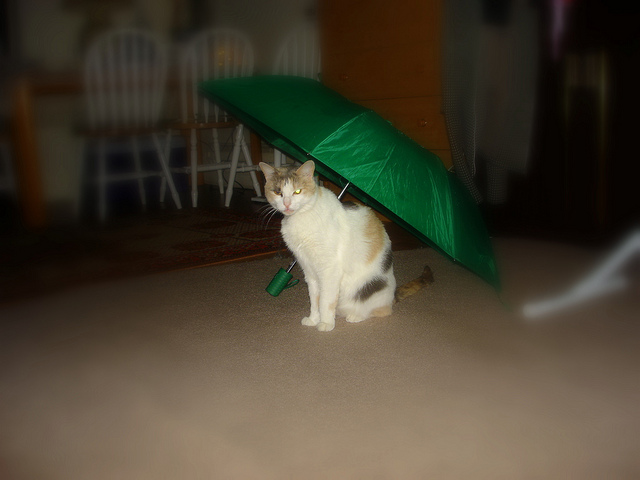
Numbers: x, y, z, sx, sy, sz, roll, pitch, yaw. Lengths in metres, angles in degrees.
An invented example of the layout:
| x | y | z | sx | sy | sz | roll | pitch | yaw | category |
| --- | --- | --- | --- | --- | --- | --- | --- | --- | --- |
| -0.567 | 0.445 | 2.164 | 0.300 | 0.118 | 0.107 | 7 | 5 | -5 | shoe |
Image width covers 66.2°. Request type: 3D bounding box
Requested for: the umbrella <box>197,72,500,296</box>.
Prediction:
| x | y | z | sx | sy | sz | roll | pitch | yaw | category |
| --- | --- | --- | --- | --- | --- | --- | --- | --- | --- |
| 0.142 | -0.183 | 1.648 | 0.999 | 0.761 | 0.431 | -1 | 9 | -8 | umbrella |

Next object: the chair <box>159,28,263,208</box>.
| x | y | z | sx | sy | sz | roll | pitch | yaw | category |
| --- | --- | --- | --- | --- | --- | --- | --- | --- | --- |
| -0.759 | -0.827 | 3.603 | 0.391 | 0.978 | 0.480 | -1 | 2 | 10 | chair |

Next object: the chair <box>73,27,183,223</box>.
| x | y | z | sx | sy | sz | roll | pitch | yaw | category |
| --- | --- | --- | --- | --- | --- | --- | --- | --- | --- |
| -1.254 | -0.792 | 3.275 | 0.597 | 1.278 | 1.024 | -3 | 10 | -16 | chair |
